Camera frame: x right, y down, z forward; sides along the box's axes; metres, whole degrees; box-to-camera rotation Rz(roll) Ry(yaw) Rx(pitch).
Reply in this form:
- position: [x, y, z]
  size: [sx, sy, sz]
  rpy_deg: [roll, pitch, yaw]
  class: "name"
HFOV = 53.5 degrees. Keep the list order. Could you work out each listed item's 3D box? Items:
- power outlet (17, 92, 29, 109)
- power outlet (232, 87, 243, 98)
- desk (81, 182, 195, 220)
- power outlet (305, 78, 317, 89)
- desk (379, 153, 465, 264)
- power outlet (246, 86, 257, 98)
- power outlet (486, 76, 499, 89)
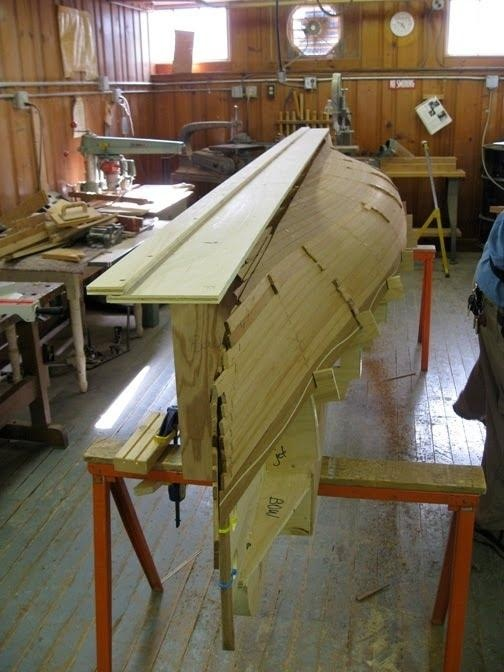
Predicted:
- position: [-1.734, -1.784, 3.783]
  size: [0.090, 0.110, 0.156]
  rpy_deg: [-10, 22, -16]
  class: "power outlet"
- position: [-0.185, -3.059, 6.249]
  size: [0.114, 0.115, 0.063]
  rpy_deg: [-2, 19, 0]
  class: "power outlet"
- position: [-0.904, -1.118, 4.241]
  size: [0.724, 0.272, 1.552]
  rpy_deg: [-4, 21, -1]
  class: "desk"
- position: [0.700, -3.032, 6.075]
  size: [0.174, 0.172, 0.095]
  rpy_deg: [-2, 27, 5]
  class: "power outlet"
- position: [1.982, -1.555, 6.290]
  size: [1.225, 1.163, 1.007]
  rpy_deg: [1, 22, 15]
  class: "desk"
- position: [-0.007, -3.059, 6.255]
  size: [0.138, 0.140, 0.046]
  rpy_deg: [-4, 7, -5]
  class: "power outlet"
- position: [2.788, -2.973, 5.838]
  size: [0.114, 0.119, 0.063]
  rpy_deg: [-5, 23, 8]
  class: "power outlet"
